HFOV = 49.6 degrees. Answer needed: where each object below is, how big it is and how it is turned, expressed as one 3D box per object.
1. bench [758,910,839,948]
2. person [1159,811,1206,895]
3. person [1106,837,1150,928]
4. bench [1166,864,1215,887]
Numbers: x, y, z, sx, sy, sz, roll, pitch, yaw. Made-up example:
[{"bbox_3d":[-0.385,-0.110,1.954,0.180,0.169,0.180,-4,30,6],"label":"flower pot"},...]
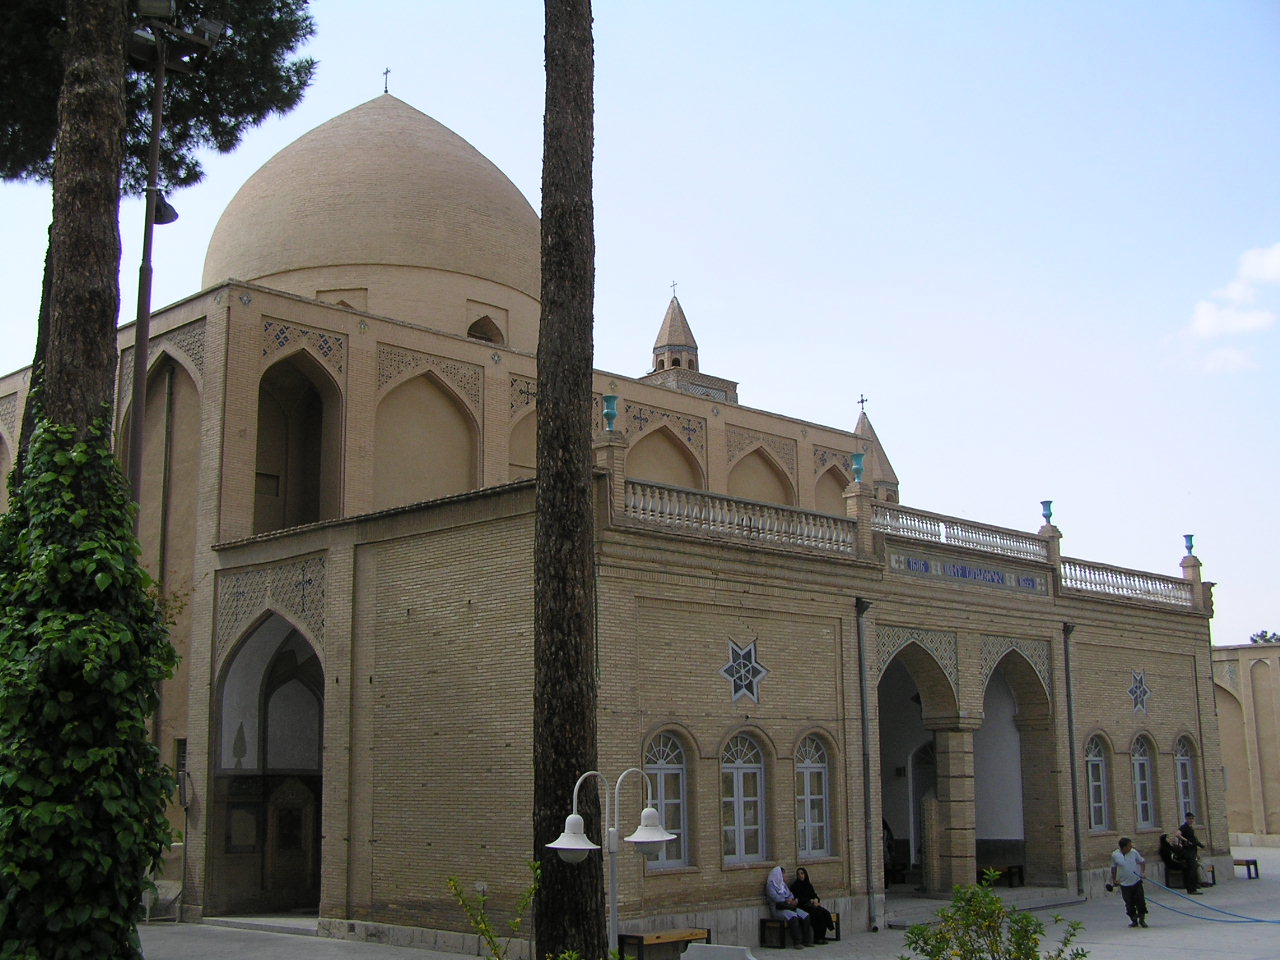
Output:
[{"bbox_3d":[1.919,5.708,17.527,0.800,0.389,0.375,-3,-17,0],"label":"bench"},{"bbox_3d":[9.278,6.502,23.790,0.646,1.137,1.687,-9,-18,19],"label":"person"},{"bbox_3d":[6.973,5.694,19.688,0.386,1.227,1.144,-8,-17,17],"label":"person"},{"bbox_3d":[9.557,6.871,24.105,0.768,0.318,0.589,-20,-22,40],"label":"bench"}]
